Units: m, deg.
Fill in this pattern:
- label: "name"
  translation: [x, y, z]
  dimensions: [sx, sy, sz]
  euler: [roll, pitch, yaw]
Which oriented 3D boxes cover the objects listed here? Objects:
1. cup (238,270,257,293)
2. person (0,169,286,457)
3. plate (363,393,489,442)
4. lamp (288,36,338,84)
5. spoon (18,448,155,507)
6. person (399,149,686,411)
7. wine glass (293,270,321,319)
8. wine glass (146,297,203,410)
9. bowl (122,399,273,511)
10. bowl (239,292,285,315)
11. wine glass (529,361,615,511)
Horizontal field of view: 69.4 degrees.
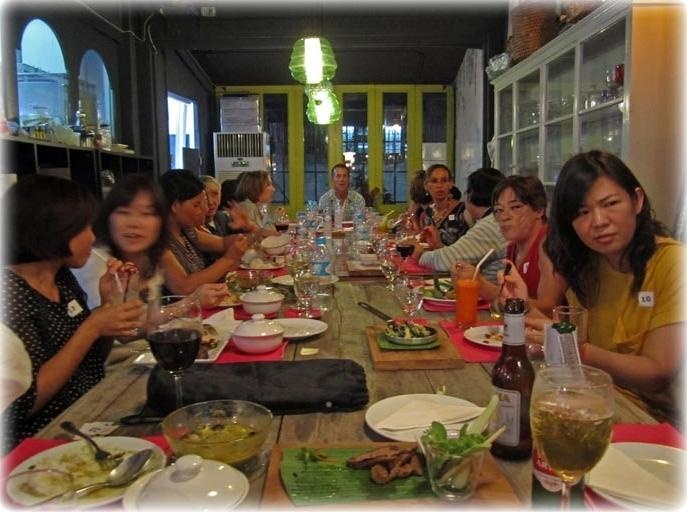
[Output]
- label: "cup"
  translation: [-0.483, 0.126, 2.481]
  dimensions: [0.101, 0.079, 0.103]
  euler: [1, -4, 0]
- label: "person"
  translation: [-0.851, -0.031, 2.423]
  dimensions: [0.813, 1.917, 0.764]
  euler: [-3, 13, -8]
- label: "plate"
  translation: [0.196, 0.401, 1.252]
  dimensions: [0.287, 0.047, 0.212]
  euler: [-4, 9, -17]
- label: "lamp"
  translation: [-0.295, -1.888, 4.791]
  dimensions: [0.485, 0.417, 0.451]
  euler: [-10, 17, -17]
- label: "spoon"
  translation: [-0.490, 0.448, 0.986]
  dimensions: [0.236, 0.038, 0.054]
  euler: [-8, 11, -37]
- label: "person"
  translation: [0.643, 0.063, 2.252]
  dimensions: [0.979, 1.393, 0.763]
  euler: [-2, 2, -15]
- label: "wine glass"
  translation: [-0.167, 0.159, 2.155]
  dimensions: [0.131, 0.183, 0.121]
  euler: [-3, 5, -19]
- label: "wine glass"
  translation: [-0.445, 0.259, 1.295]
  dimensions: [0.144, 0.303, 0.227]
  euler: [-6, 11, -23]
- label: "bowl"
  translation: [-0.278, 0.408, 1.026]
  dimensions: [0.226, 0.129, 0.347]
  euler: [0, 9, 6]
- label: "bowl"
  translation: [-0.349, 0.190, 2.056]
  dimensions: [0.115, 0.058, 0.123]
  euler: [1, 3, 0]
- label: "wine glass"
  translation: [0.418, 0.347, 0.919]
  dimensions: [0.138, 0.275, 0.120]
  euler: [2, 11, 19]
